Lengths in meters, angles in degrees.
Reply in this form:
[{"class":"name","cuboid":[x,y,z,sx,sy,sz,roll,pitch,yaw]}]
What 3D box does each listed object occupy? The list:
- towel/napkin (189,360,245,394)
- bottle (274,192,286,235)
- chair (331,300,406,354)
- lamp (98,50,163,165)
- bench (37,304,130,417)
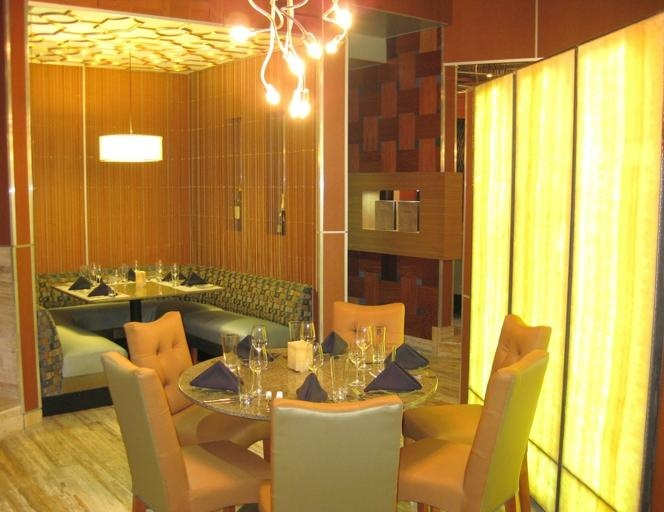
[{"class":"towel/napkin","cuboid":[-0.578,0.619,2.973,0.175,0.098,0.170,-1,-3,38]},{"class":"bottle","cuboid":[-0.538,-0.441,6.236,0.081,0.435,0.172,-13,15,-32]},{"class":"chair","cuboid":[0.264,0.516,4.180,0.300,0.450,0.350,1,-10,1]},{"class":"lamp","cuboid":[-2.488,-1.479,7.258,0.882,1.225,0.942,1,7,-16]},{"class":"bench","cuboid":[-2.310,0.556,5.560,0.709,1.077,1.489,-6,25,-19]}]
